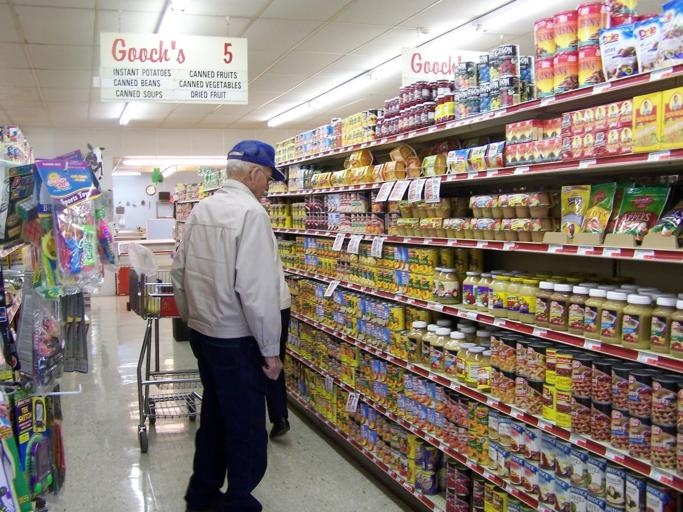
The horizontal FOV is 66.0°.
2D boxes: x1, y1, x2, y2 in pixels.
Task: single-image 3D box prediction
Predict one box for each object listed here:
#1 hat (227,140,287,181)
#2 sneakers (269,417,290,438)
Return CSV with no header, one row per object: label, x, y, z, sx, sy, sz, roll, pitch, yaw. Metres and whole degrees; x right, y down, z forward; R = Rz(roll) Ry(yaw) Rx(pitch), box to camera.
hat,-0.469,-0.757,3.213,0.352,0.169,0.236,8,8,-35
sneakers,-0.513,1.528,4.504,0.092,0.102,0.244,-9,-21,-29
